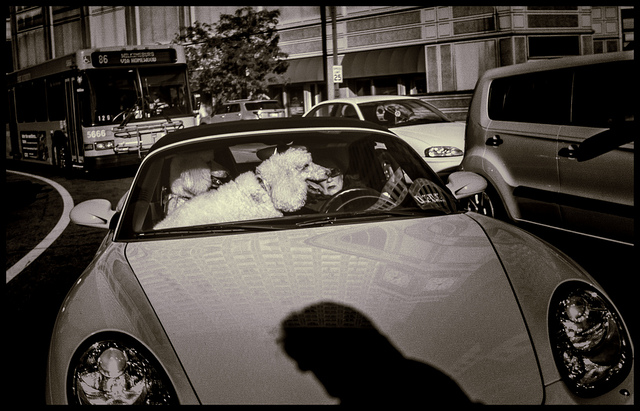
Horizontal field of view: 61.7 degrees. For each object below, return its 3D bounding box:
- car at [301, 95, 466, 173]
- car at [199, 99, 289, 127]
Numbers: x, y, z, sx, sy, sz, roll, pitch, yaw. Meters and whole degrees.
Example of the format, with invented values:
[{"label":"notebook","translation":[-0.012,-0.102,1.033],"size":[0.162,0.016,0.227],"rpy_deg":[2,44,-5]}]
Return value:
[{"label":"car","translation":[1.565,-1.691,11.321],"size":[1.628,1.387,3.932],"rpy_deg":[-8,12,-33]},{"label":"car","translation":[-3.888,-4.689,26.244],"size":[3.909,0.927,1.754],"rpy_deg":[3,13,30]}]
